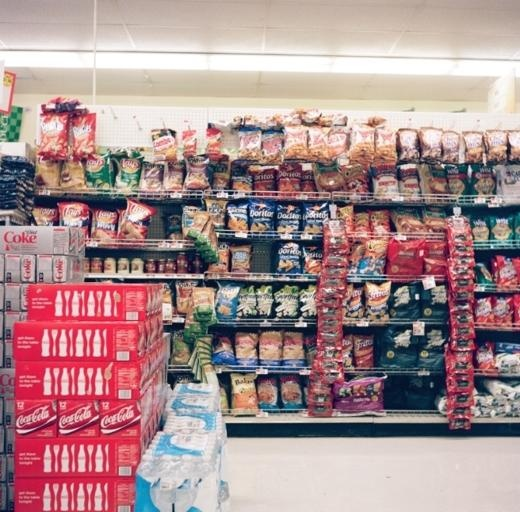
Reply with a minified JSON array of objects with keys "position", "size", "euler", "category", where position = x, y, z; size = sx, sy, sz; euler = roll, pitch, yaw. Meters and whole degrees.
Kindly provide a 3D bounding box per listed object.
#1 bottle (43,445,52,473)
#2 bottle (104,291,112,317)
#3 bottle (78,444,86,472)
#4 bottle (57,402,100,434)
[{"position":[-1.260,1.201,5.260],"size":[0.047,0.155,0.022],"euler":[-4,5,-15],"category":"bottle"},{"position":[-0.916,0.283,5.334],"size":[0.049,0.156,0.020],"euler":[-3,5,-9],"category":"bottle"},{"position":[-1.056,1.201,5.263],"size":[0.049,0.155,0.022],"euler":[-3,5,-12],"category":"bottle"},{"position":[-1.038,0.977,5.335],"size":[0.308,0.219,0.154],"euler":[-9,-15,26],"category":"bottle"}]
